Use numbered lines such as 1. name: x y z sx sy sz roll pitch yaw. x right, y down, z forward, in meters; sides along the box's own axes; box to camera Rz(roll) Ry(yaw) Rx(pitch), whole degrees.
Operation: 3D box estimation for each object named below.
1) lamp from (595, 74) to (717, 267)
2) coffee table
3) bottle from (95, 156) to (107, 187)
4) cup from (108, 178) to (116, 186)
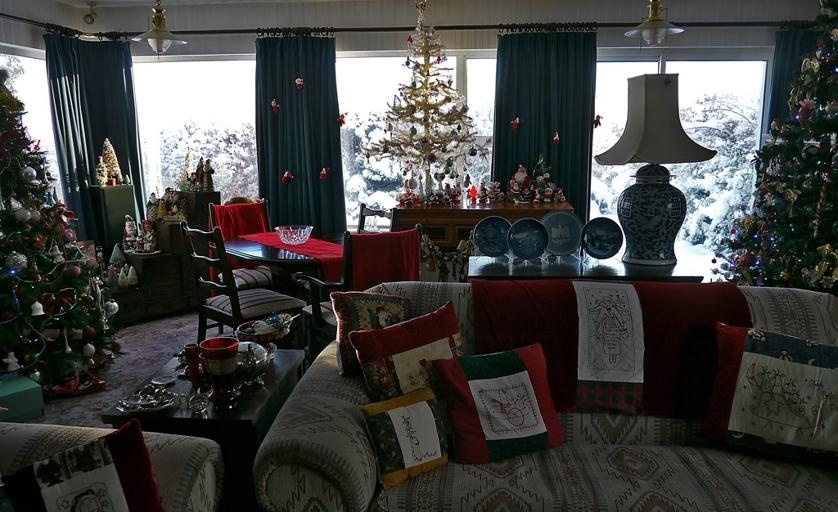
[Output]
1. lamp: 1.438 -0.527 3.464 0.747 1.096 0.746 -3 5 -24
2. coffee table: -1.016 0.731 2.878 0.576 0.538 0.571 2 10 0
3. bottle: -3.177 -0.844 5.586 0.099 0.290 0.206 -8 13 -28
4. cup: -3.111 -0.746 5.658 0.066 0.049 0.067 1 3 0
